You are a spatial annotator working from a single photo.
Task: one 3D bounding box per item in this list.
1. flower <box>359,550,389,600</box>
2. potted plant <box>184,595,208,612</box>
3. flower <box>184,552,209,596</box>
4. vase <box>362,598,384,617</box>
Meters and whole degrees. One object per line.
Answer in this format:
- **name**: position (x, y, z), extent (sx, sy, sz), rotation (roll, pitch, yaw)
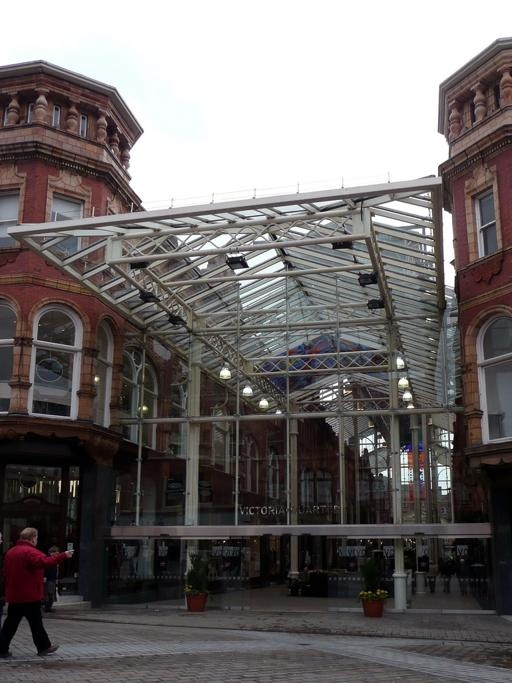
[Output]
- **flower**: position (2.587, 5.169, 15.460), extent (0.551, 0.959, 1.102), rotation (-5, -17, 9)
- **potted plant**: position (-1.408, 6.025, 16.089), extent (0.463, 0.296, 0.426), rotation (-2, -24, 5)
- **flower**: position (-1.395, 5.434, 16.363), extent (0.541, 0.910, 0.349), rotation (-1, -18, -4)
- **vase**: position (2.510, 5.671, 14.838), extent (0.440, 0.278, 0.405), rotation (0, -22, 2)
